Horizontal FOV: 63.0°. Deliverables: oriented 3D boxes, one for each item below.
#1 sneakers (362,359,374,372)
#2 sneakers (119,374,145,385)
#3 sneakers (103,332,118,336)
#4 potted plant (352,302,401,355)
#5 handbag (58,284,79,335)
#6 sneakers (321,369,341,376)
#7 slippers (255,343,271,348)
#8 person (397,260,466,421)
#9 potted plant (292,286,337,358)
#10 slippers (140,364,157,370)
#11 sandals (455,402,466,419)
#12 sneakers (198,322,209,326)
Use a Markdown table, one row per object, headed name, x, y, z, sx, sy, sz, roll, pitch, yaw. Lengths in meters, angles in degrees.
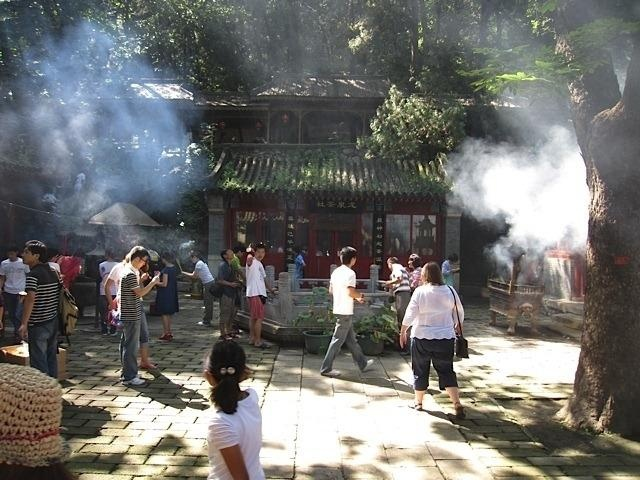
| name | x | y | z | sx | sy | sz | roll | pitch | yaw |
| --- | --- | --- | --- | --- | --- | --- | --- | --- | --- |
| sneakers | 0.812 | 2.149 | 8.932 | 0.103 | 0.138 | 0.339 | 13 | 36 | 24 |
| sneakers | -2.890 | 2.111 | 7.990 | 0.324 | 0.148 | 0.152 | 1 | 3 | -8 |
| sneakers | -4.506 | 2.028 | 11.220 | 0.309 | 0.130 | 0.110 | 2 | -3 | 9 |
| potted plant | 1.054 | 1.698 | 10.304 | 0.942 | 1.019 | 0.900 | -1 | 3 | 16 |
| handbag | -3.809 | 1.069 | 7.893 | 0.240 | 0.807 | 0.379 | -1 | 6 | -27 |
| sneakers | 0.176 | 2.167 | 8.569 | 0.330 | 0.151 | 0.114 | -3 | 6 | 0 |
| slippers | -1.122 | 2.045 | 10.239 | 0.232 | 0.075 | 0.119 | 0 | 2 | 11 |
| person | 1.551 | 1.337 | 7.183 | 0.867 | 2.028 | 0.541 | 2 | 5 | 9 |
| potted plant | -0.021 | 1.644 | 10.572 | 0.903 | 1.227 | 0.767 | -4 | -5 | -20 |
| slippers | -2.864 | 2.103 | 8.726 | 0.240 | 0.144 | 0.083 | 1 | 0 | -18 |
| sandals | 1.876 | 2.284 | 7.019 | 0.136 | 0.194 | 0.163 | 3 | 5 | 15 |
| sneakers | -2.774 | 2.008 | 12.434 | 0.243 | 0.110 | 0.124 | 8 | 2 | 17 |
